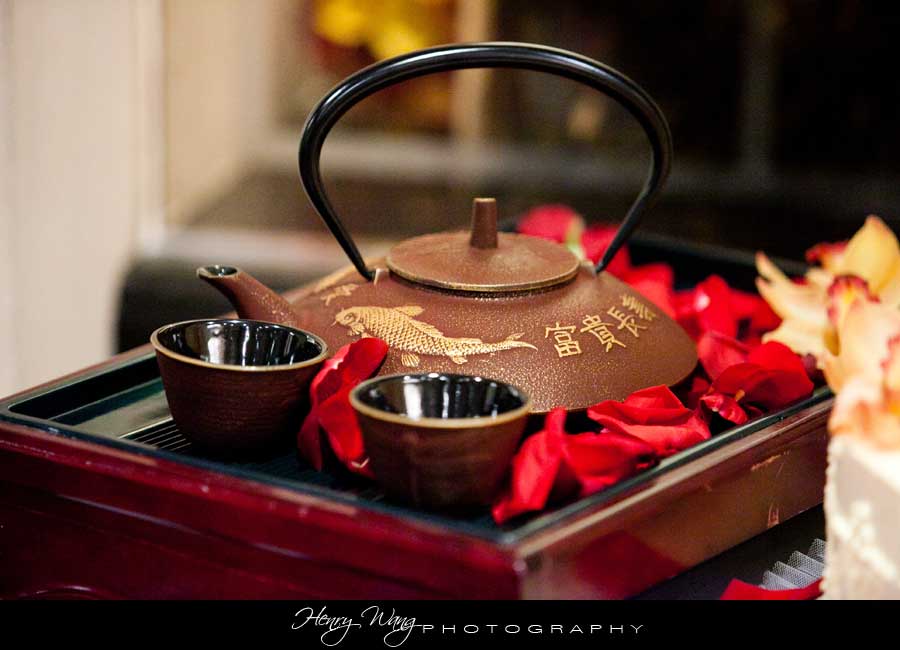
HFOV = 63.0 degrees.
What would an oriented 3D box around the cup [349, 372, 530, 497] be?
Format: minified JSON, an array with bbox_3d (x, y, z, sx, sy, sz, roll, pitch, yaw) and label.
[{"bbox_3d":[-0.003,0.067,0.389,0.092,0.050,0.088,1,5,0],"label":"cup"}]

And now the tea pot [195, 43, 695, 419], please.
[{"bbox_3d":[0.006,-0.076,0.519,0.345,0.217,0.285,2,19,2],"label":"tea pot"}]

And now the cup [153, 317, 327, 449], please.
[{"bbox_3d":[-0.118,0.026,0.425,0.086,0.044,0.085,6,16,-2],"label":"cup"}]
